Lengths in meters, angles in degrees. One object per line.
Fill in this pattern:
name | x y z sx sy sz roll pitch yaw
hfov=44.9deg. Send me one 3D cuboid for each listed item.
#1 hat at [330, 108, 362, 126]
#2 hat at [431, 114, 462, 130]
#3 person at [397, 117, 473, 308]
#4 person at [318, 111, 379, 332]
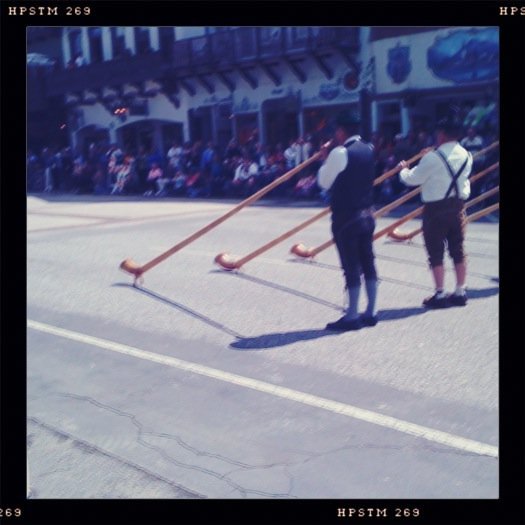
hat | 0.408 -0.687 2.977 0.082 0.054 0.100 -7 15 -24
hat | 0.878 -0.647 2.969 0.082 0.086 0.093 2 24 -9
person | 0.860 -0.227 2.980 0.264 0.872 0.130 0 8 15
person | 0.413 -0.189 2.996 0.266 1.006 0.130 -1 8 4
